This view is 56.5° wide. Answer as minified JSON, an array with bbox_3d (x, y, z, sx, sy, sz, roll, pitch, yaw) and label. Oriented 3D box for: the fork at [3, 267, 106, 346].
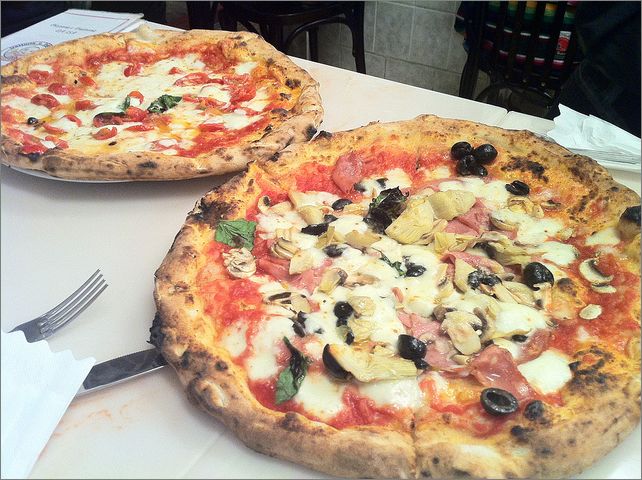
[{"bbox_3d":[-0.754,0.190,1.871,0.429,0.086,0.089,-29,91,-40],"label":"fork"}]
